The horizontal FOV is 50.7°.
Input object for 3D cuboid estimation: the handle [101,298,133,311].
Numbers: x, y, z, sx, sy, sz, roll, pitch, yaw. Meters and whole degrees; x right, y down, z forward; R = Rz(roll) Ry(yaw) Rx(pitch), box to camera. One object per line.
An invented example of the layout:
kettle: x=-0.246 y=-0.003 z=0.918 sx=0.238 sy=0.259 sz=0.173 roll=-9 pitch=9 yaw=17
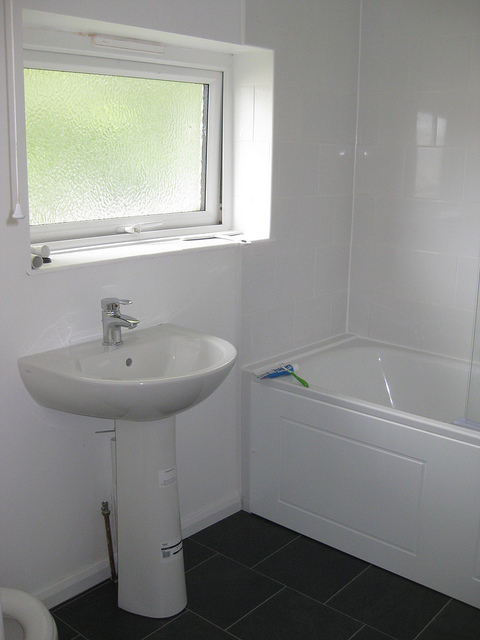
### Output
handle: x=-0.343 y=-0.040 z=1.401 sx=0.081 sy=0.034 sz=0.026 roll=0 pitch=5 yaw=-2

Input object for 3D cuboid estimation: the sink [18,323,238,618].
sink: x=-0.263 y=0.464 z=1.538 sx=0.444 sy=0.833 sz=0.586 roll=6 pitch=16 yaw=23

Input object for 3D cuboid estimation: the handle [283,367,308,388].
handle: x=0.215 y=0.235 z=1.991 sx=0.012 sy=0.029 sz=0.221 roll=34 pitch=10 yaw=-25

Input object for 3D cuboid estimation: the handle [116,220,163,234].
handle: x=-0.391 y=-0.367 z=1.976 sx=0.050 sy=0.058 sz=0.194 roll=11 pitch=18 yaw=39

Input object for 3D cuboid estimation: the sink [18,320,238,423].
sink: x=-0.266 y=0.144 z=1.409 sx=0.515 sy=0.198 sz=0.522 roll=4 pitch=7 yaw=39

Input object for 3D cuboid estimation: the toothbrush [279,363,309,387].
toothbrush: x=0.212 y=0.229 z=2.065 sx=0.017 sy=0.018 sz=0.145 roll=41 pitch=0 yaw=-39

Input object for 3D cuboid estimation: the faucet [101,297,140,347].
faucet: x=-0.335 y=0.013 z=1.425 sx=0.141 sy=0.134 sz=0.046 roll=9 pitch=15 yaw=32
